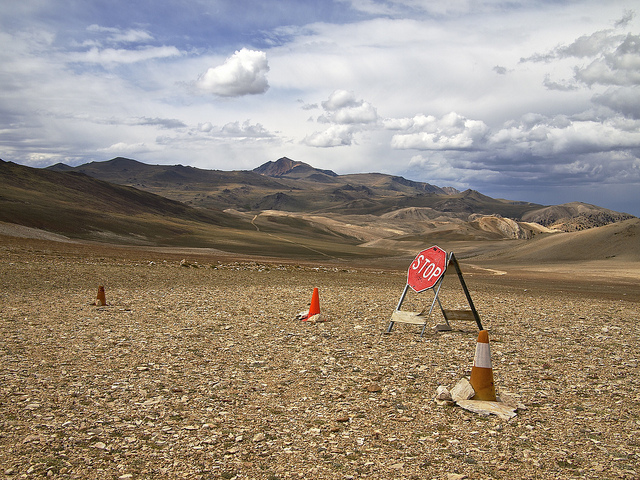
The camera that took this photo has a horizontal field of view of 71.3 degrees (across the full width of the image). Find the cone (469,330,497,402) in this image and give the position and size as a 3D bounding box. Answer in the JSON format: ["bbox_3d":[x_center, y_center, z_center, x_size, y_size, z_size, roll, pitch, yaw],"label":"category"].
[{"bbox_3d":[3.357,2.507,9.019,0.562,1.452,0.388,5,7,14],"label":"cone"}]
